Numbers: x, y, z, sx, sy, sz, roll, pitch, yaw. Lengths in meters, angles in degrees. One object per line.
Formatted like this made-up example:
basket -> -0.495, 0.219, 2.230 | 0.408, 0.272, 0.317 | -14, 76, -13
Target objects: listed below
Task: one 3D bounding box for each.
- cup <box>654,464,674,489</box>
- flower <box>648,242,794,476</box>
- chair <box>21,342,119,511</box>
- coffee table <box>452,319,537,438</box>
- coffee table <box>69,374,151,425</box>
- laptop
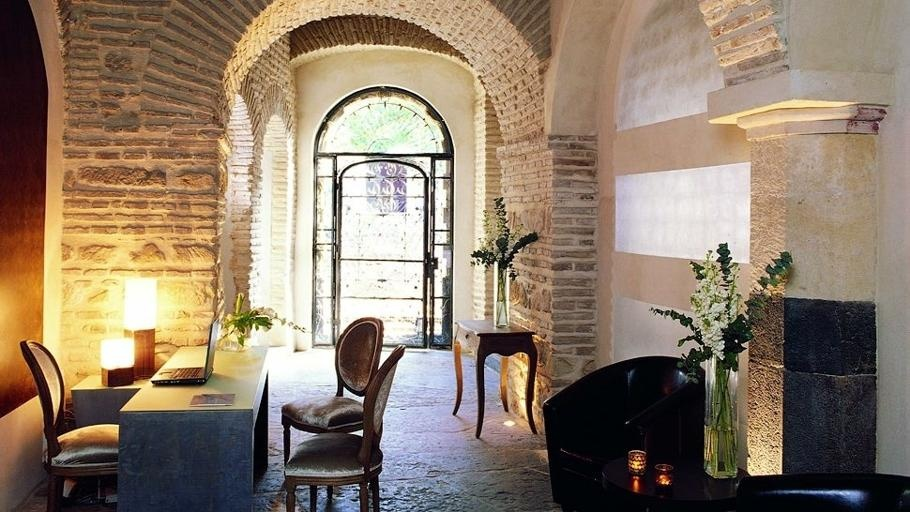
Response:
cup -> 1.375, 1.422, 4.055 | 0.134, 0.124, 0.125 | 2, -1, 0
flower -> 1.717, 0.674, 4.230 | 1.040, 1.445, 0.631 | 21, -25, -17
chair -> -2.892, 1.139, 4.677 | 0.812, 1.024, 0.428 | 7, 12, 22
coffee table -> 0.444, 1.254, 6.656 | 0.841, 1.085, 0.938 | 0, 11, -11
coffee table -> -2.871, 1.178, 5.271 | 0.617, 0.484, 0.529 | 1, 7, -10
laptop -> -2.182, 0.669, 5.068 | 0.528, 0.444, 0.759 | 6, 2, -6
